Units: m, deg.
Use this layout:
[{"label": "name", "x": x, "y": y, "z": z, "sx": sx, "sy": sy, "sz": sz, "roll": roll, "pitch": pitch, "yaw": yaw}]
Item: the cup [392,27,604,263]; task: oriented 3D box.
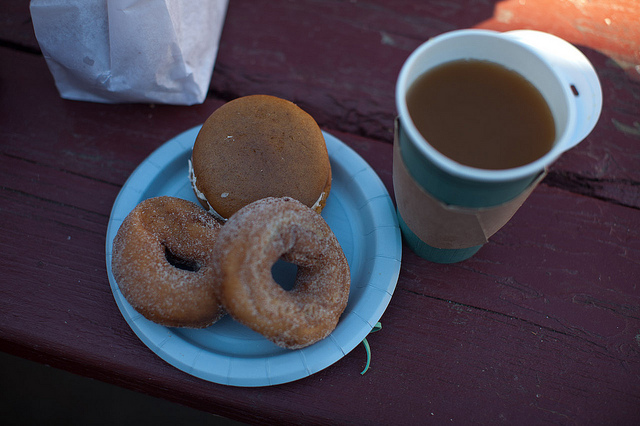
[{"label": "cup", "x": 0.342, "y": -0.180, "z": 1.322, "sx": 0.485, "sy": 0.368, "sz": 0.363, "roll": -39, "pitch": 68, "yaw": -14}]
